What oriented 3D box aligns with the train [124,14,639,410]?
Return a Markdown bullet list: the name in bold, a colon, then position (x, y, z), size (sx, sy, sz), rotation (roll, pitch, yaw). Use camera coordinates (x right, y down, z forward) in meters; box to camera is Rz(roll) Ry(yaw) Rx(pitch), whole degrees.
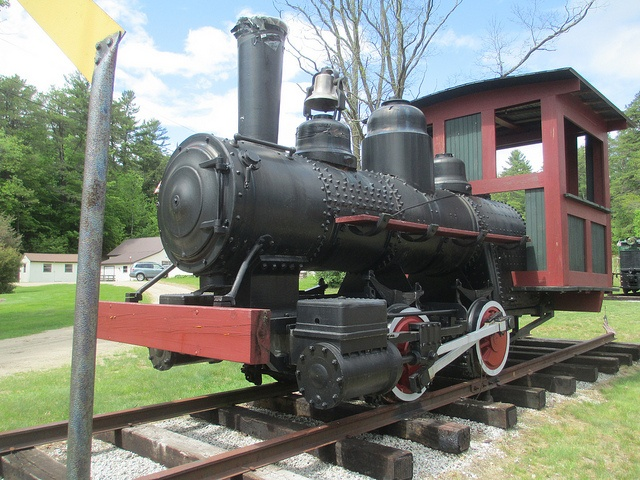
- **train**: position (1.111, -0.093, 7.859), size (3.811, 4.544, 8.220), rotation (-6, -8, 41)
